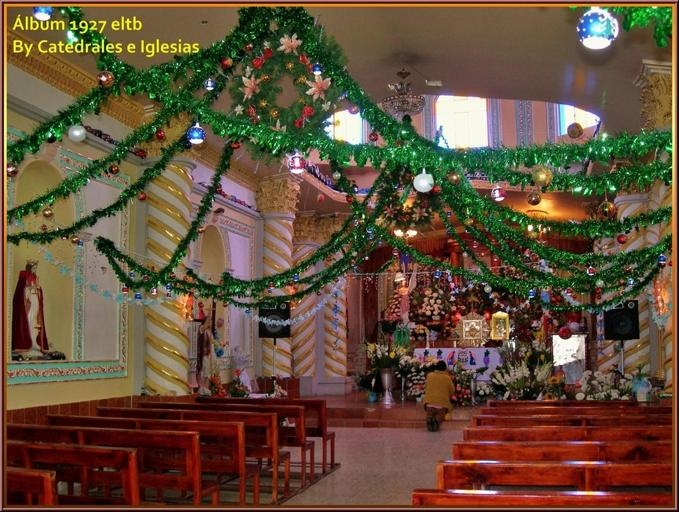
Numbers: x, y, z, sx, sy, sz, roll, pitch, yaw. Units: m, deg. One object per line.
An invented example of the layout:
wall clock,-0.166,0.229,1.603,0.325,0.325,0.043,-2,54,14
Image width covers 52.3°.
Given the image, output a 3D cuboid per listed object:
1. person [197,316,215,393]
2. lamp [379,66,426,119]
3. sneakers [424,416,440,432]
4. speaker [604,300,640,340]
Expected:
person,-2.780,2.080,14.519,0.291,1.585,0.354,5,-10,-29
lamp,1.159,-2.847,12.369,0.727,0.694,1.075,0,-10,3
sneakers,1.992,3.521,14.644,0.199,0.354,0.142,0,-3,5
speaker,5.210,1.163,12.811,0.673,0.714,0.522,10,-13,-44
